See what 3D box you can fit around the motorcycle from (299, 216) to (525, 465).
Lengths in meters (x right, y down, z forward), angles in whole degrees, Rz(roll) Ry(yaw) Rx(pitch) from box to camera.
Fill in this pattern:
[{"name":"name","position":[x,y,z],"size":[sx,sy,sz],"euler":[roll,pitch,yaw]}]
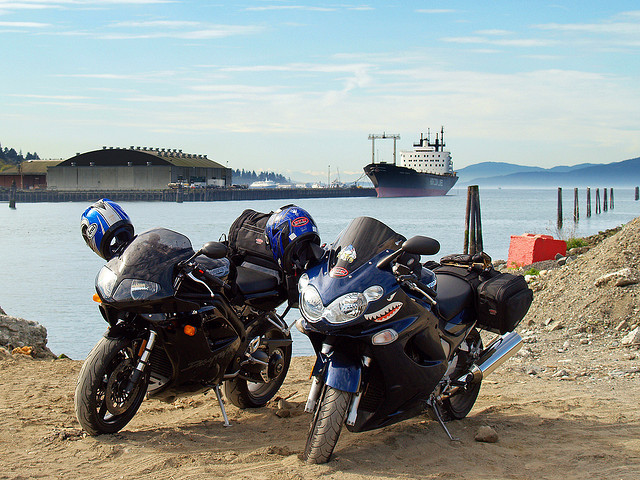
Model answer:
[{"name":"motorcycle","position":[0.699,0.879,7.967],"size":[2.113,2.138,0.830],"euler":[-12,18,-42]}]

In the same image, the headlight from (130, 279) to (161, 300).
[{"name":"headlight","position":[-1.591,0.452,7.688],"size":[0.256,0.163,0.097],"euler":[-1,13,-3]}]

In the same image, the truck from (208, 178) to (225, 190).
[{"name":"truck","position":[-14.210,-7.623,115.085],"size":[2.028,1.595,0.450],"euler":[-3,-7,-26]}]

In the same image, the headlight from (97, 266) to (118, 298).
[{"name":"headlight","position":[-1.956,0.379,7.736],"size":[0.230,0.241,0.081],"euler":[3,-18,14]}]
